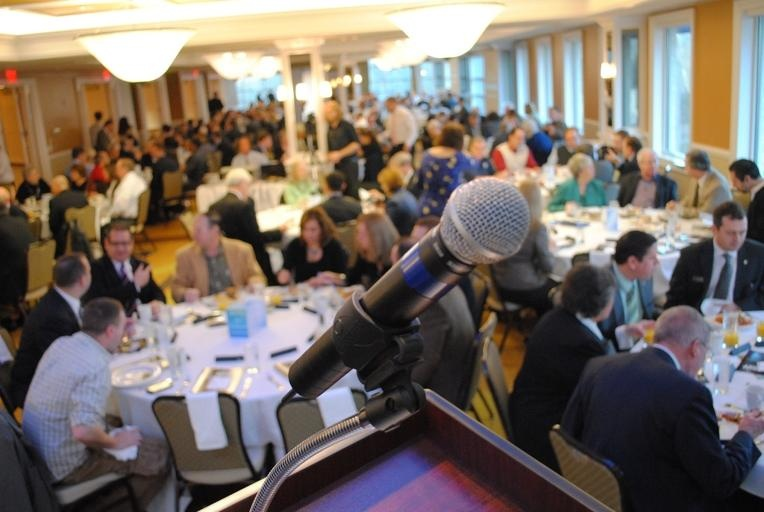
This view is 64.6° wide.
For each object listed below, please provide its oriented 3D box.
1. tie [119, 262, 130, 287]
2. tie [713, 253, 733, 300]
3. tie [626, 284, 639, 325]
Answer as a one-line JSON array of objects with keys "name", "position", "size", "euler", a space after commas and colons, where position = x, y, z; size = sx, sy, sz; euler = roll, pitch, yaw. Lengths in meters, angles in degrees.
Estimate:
[{"name": "tie", "position": [-1.952, 0.111, 4.598], "size": [0.088, 0.122, 0.031], "euler": [-3, 3, 14]}, {"name": "tie", "position": [2.278, 0.121, 4.032], "size": [0.061, 0.305, 0.046], "euler": [11, 20, 2]}, {"name": "tie", "position": [1.596, 0.311, 3.888], "size": [0.067, 0.285, 0.078], "euler": [6, 0, -25]}]
